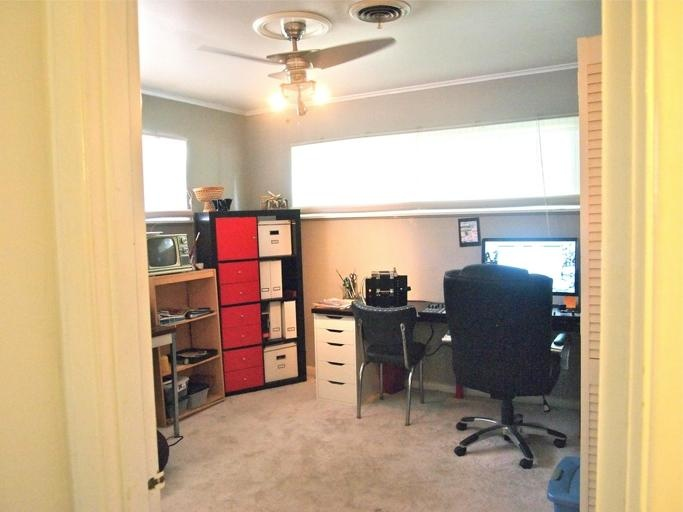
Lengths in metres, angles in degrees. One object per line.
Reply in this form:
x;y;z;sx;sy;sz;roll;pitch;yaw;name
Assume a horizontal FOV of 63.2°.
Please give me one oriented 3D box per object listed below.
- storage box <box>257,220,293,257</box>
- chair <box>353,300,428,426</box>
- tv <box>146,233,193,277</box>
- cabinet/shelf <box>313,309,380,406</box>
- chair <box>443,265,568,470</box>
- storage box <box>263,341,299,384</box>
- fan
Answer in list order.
-0.611;-0.136;4.666;0.322;0.299;0.245;-5;5;-36;storage box
0.325;0.702;3.866;0.505;0.807;0.518;1;7;25;chair
-1.308;-0.002;3.971;0.250;0.278;0.395;-7;2;35;tv
0.049;0.780;4.229;0.477;0.649;0.456;-6;7;-35;cabinet/shelf
0.941;0.578;3.197;0.719;1.098;0.769;-1;8;2;chair
-0.563;0.893;4.700;0.326;0.293;0.237;-5;4;-30;storage box
-0.122;-1.098;3.155;0.748;0.354;0.660;-2;-5;17;fan
